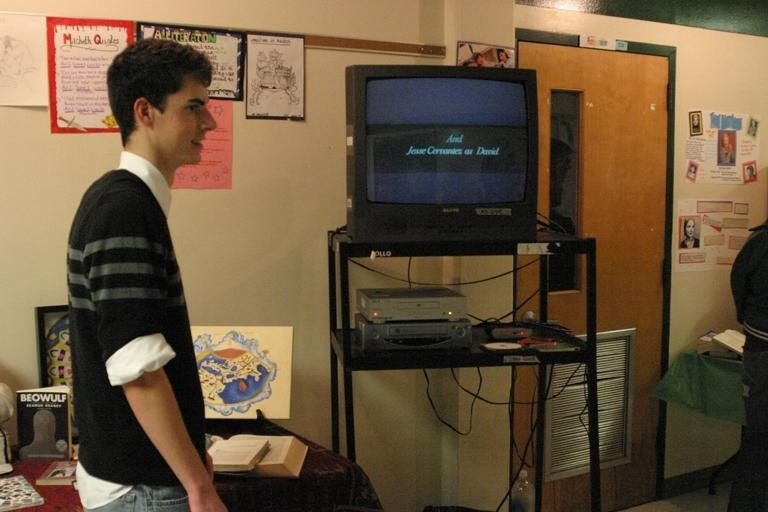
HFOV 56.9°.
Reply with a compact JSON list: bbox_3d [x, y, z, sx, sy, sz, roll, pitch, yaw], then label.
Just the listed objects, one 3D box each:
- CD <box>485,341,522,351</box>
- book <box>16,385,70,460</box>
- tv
[{"bbox_3d":[0.544,0.417,3.242,0.181,0.012,0.115,-1,8,2],"label":"CD"},{"bbox_3d":[-1.528,0.779,3.298,0.256,0.324,0.188,0,2,11],"label":"book"},{"bbox_3d":[0.198,-0.487,3.418,0.994,0.810,0.538,-2,8,-20],"label":"tv"}]
